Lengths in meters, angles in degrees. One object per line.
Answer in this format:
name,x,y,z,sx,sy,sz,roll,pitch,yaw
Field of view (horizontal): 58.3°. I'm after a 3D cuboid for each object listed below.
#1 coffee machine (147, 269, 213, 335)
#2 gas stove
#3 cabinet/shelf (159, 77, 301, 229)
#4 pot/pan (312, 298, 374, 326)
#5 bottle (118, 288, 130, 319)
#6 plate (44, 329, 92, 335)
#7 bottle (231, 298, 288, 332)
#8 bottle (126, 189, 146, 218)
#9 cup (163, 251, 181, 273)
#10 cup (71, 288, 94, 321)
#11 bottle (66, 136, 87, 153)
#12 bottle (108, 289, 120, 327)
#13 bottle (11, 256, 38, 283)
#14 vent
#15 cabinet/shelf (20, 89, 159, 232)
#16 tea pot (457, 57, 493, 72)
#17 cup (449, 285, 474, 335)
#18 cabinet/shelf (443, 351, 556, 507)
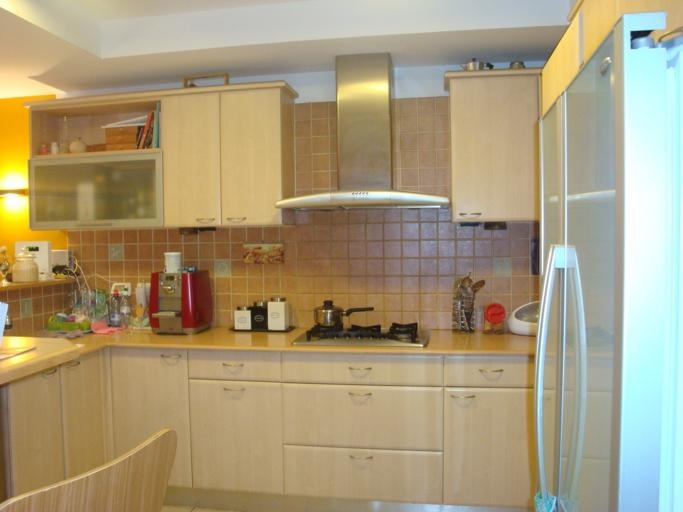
coffee machine,-0.987,0.299,3.915,0.310,0.397,0.424,-1,-6,7
gas stove,0.129,0.465,3.653,0.790,0.136,0.425,-1,0,7
cabinet/shelf,-0.718,-0.633,3.831,0.964,0.919,0.368,0,0,11
pot/pan,0.016,0.340,3.771,0.316,0.144,0.165,1,1,8
bottle,-1.482,0.326,4.206,0.069,0.201,0.161,-1,0,-19
plate,-1.792,0.494,3.948,0.334,0.040,0.181,-1,0,6
bottle,-0.516,0.382,3.947,0.353,0.215,0.144,-1,0,-11
bottle,-1.316,-0.335,3.948,0.139,0.179,0.003,-1,0,13
cup,-1.107,0.046,4.000,0.118,0.135,0.119,1,2,0
cup,-1.761,0.334,4.194,0.132,0.203,0.211,-1,0,-32
bottle,-1.793,-0.755,4.162,0.134,0.128,0.135,0,6,1
bottle,-1.557,0.352,4.190,0.075,0.234,0.262,-1,0,-20
bottle,-2.040,0.085,3.947,0.148,0.170,0.183,-1,0,-28
vent,0.164,-0.766,3.793,0.931,0.842,0.394,0,-4,11
cabinet/shelf,-1.632,-0.632,4.055,0.961,0.913,0.371,-1,-2,4
tea pot,0.797,-1.153,3.649,0.205,0.091,0.114,2,2,-1
cup,0.753,0.329,3.842,0.164,0.286,0.122,-1,0,30
cabinet/shelf,0.814,1.008,3.650,0.644,1.113,0.738,-1,-4,10
